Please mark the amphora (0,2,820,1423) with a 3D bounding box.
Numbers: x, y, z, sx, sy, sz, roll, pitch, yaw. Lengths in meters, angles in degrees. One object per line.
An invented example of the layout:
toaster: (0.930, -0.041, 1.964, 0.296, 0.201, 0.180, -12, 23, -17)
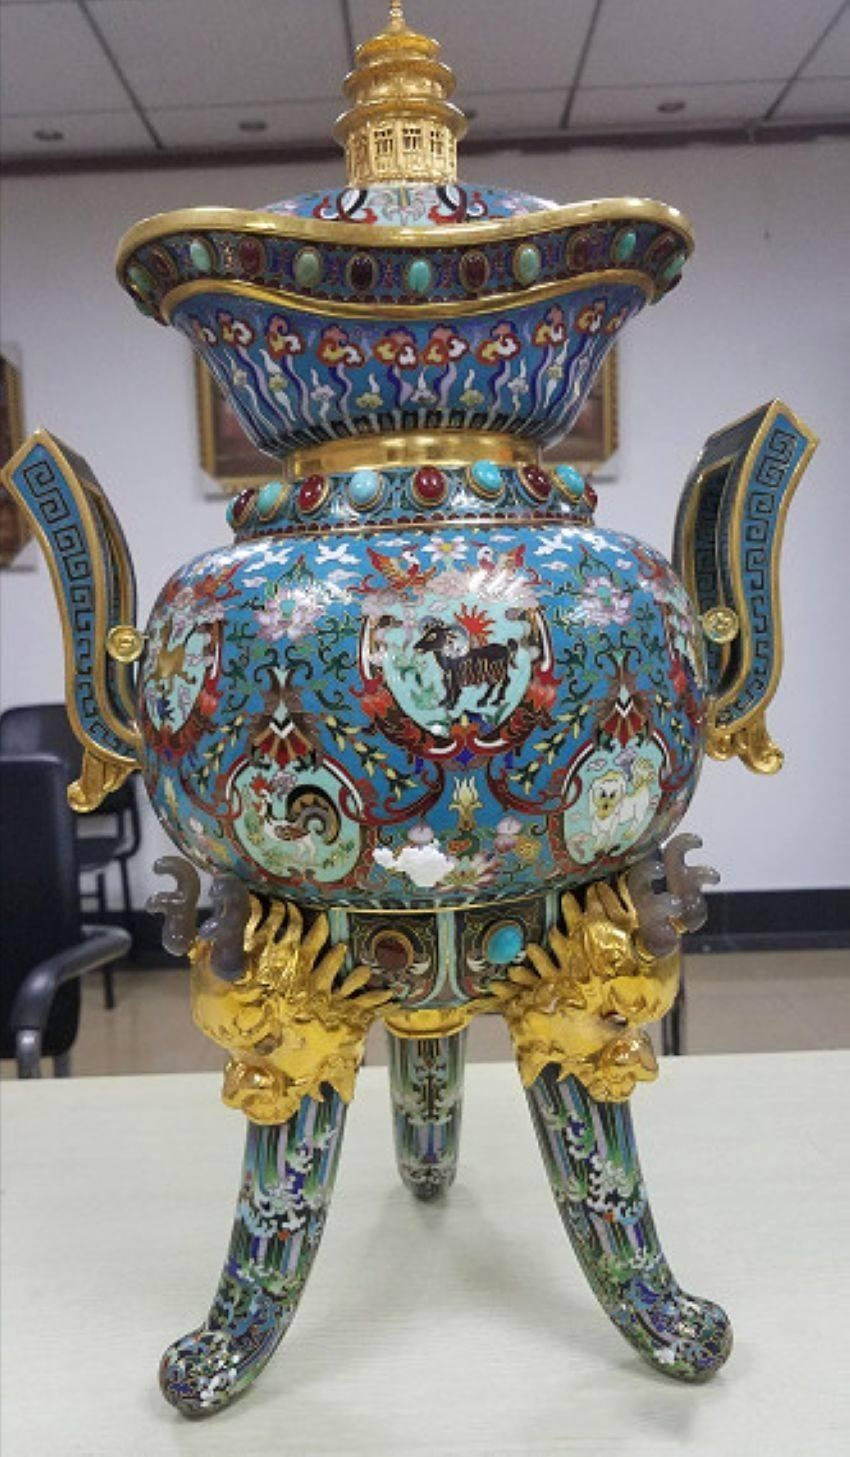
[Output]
amphora: (0.015, -0.037, 1.195, 0.582, 1.003, 0.375, -6, 13, -17)
